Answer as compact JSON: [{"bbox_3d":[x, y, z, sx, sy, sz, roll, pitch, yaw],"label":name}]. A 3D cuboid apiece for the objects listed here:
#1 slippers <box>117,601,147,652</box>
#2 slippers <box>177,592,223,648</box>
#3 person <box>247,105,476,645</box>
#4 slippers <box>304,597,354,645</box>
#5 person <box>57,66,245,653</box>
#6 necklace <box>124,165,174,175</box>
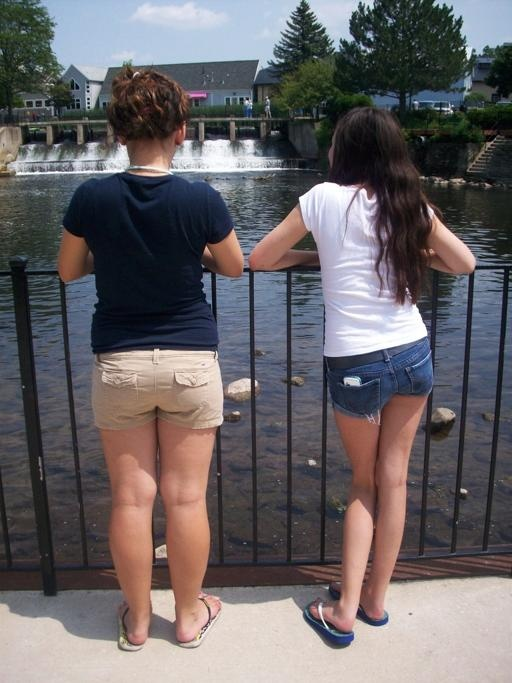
[{"bbox_3d":[-0.447,1.012,2.478,0.067,0.152,0.043,-3,-20,3],"label":"slippers"},{"bbox_3d":[-0.177,1.005,2.533,0.090,0.083,0.230,10,27,22],"label":"slippers"},{"bbox_3d":[0.420,0.114,2.518,0.688,1.829,0.522,-10,19,-24],"label":"person"},{"bbox_3d":[0.260,1.010,2.531,0.092,0.052,0.184,-19,29,-20],"label":"slippers"},{"bbox_3d":[-0.298,0.243,2.383,0.591,1.637,0.398,-6,18,-12],"label":"person"},{"bbox_3d":[-0.333,-0.529,2.158,0.137,0.026,0.059,-1,15,0],"label":"necklace"}]
